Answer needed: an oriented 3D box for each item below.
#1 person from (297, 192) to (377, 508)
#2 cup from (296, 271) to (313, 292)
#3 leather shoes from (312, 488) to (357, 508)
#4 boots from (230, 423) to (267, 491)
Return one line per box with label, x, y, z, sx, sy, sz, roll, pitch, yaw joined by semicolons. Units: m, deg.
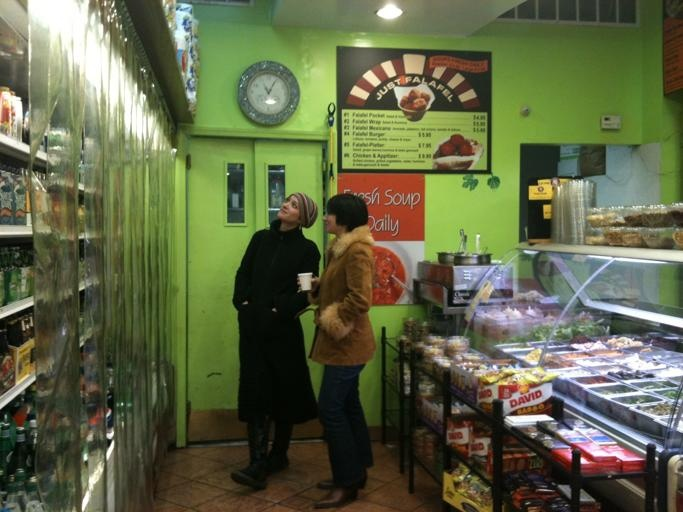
person;0.003;0.559;3.394;0.386;1.849;0.455;-1;3;-3
cup;-0.216;0.146;3.438;0.108;0.100;0.109;0;4;0
leather shoes;-0.034;1.426;3.440;0.283;0.125;0.100;4;-1;-24
boots;-0.564;1.242;3.559;0.117;0.444;0.287;1;4;42
